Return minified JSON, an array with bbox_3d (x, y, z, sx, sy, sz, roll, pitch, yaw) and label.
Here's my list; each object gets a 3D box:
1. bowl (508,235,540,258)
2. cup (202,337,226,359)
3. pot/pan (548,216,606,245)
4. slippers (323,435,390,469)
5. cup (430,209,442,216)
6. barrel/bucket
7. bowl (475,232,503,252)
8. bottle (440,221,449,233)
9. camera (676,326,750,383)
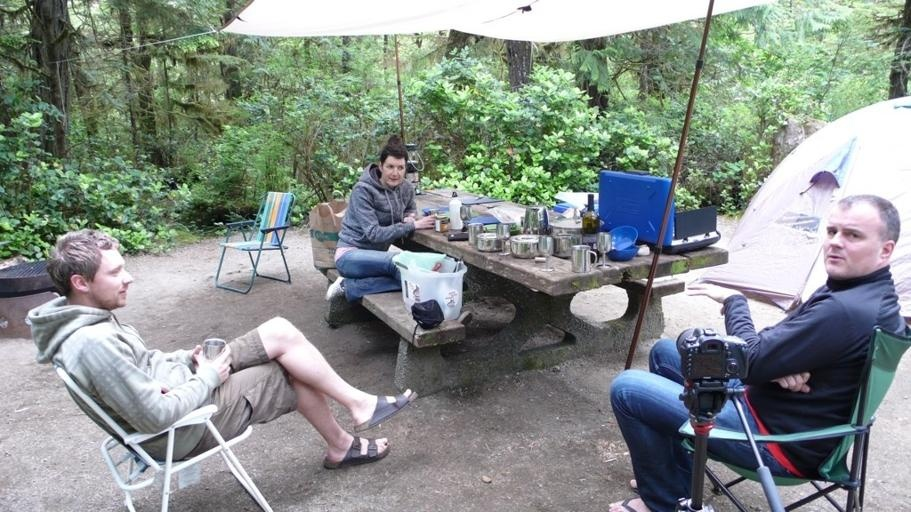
[{"bbox_3d":[0.606,-0.082,5.147,0.228,0.138,0.214,0,8,0],"label":"bowl"},{"bbox_3d":[-1.749,0.674,4.307,0.199,0.120,0.141,-2,9,-25],"label":"cup"},{"bbox_3d":[1.078,-0.233,5.308,0.334,0.272,0.280,-1,3,-8],"label":"pot/pan"},{"bbox_3d":[-0.790,1.548,4.689,0.446,0.142,0.236,-7,17,-16],"label":"slippers"},{"bbox_3d":[-0.196,-0.451,6.036,0.117,0.077,0.111,2,3,0],"label":"cup"},{"bbox_3d":[-0.258,0.217,5.325,0.620,0.540,0.857,-6,10,-25],"label":"barrel/bucket"},{"bbox_3d":[0.305,-0.122,5.266,0.192,0.111,0.184,2,6,0],"label":"bowl"},{"bbox_3d":[-0.116,-0.285,5.820,0.120,0.103,0.081,1,16,-12],"label":"bottle"},{"bbox_3d":[1.558,0.613,3.772,0.433,0.251,0.487,0,1,-16],"label":"camera"}]
